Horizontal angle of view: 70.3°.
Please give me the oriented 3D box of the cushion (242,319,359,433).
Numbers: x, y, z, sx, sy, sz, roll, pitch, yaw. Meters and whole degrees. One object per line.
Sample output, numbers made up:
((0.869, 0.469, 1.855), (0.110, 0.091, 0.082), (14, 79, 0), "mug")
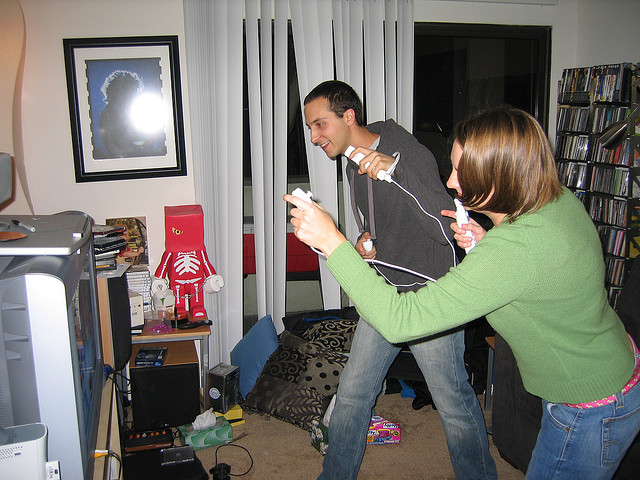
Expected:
((-0.046, 0.850, 3.073), (0.664, 0.248, 0.853), (12, 43, 35), "cushion")

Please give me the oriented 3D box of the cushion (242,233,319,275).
((-0.256, 0.127, 3.482), (0.438, 0.344, 0.344), (2, -6, -16), "cushion")

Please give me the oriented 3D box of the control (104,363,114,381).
((-0.962, 0.599, 2.055), (0.026, 0.054, 0.151), (-7, 8, -23), "control")

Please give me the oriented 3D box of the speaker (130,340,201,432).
((-0.916, 0.850, 2.900), (0.429, 0.714, 0.431), (-2, 2, -12), "speaker")

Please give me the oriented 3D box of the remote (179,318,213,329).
((-0.788, 0.529, 2.891), (0.113, 0.041, 0.076), (-5, 5, -21), "remote")

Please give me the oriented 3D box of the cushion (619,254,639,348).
((1.488, 0.280, 2.180), (0.073, 0.358, 0.318), (3, 0, 40), "cushion")

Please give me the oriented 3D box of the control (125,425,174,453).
((-0.951, 1.103, 2.506), (0.152, 0.078, 0.130), (1, -41, -15), "control")

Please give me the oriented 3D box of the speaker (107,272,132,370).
((-1.085, 0.428, 2.452), (0.073, 0.484, 0.224), (-5, 7, -9), "speaker")

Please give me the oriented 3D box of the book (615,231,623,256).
((2.298, 0.030, 3.482), (0.025, 0.127, 0.115), (9, 6, 21), "book")

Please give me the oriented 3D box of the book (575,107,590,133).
((2.074, -0.945, 3.577), (0.078, 0.158, 0.157), (13, 17, 8), "book")

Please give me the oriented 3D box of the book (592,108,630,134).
((2.206, -0.839, 3.449), (0.243, 0.269, 0.137), (4, -1, -32), "book")

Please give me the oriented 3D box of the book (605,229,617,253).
((2.269, 0.007, 3.536), (0.024, 0.120, 0.107), (15, 5, 24), "book")
